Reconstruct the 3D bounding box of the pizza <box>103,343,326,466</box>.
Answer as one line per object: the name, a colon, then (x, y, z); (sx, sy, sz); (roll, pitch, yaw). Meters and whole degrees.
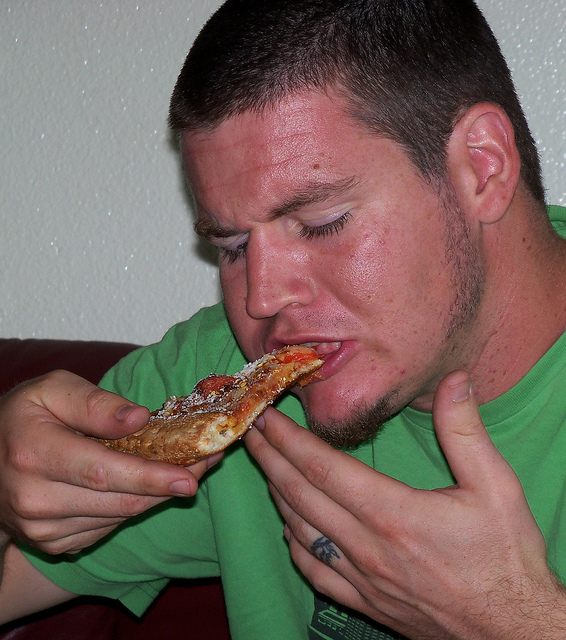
pizza: (-0.125, 0.190, 1.407); (0.404, 0.091, 0.425); (-5, 15, 26)
